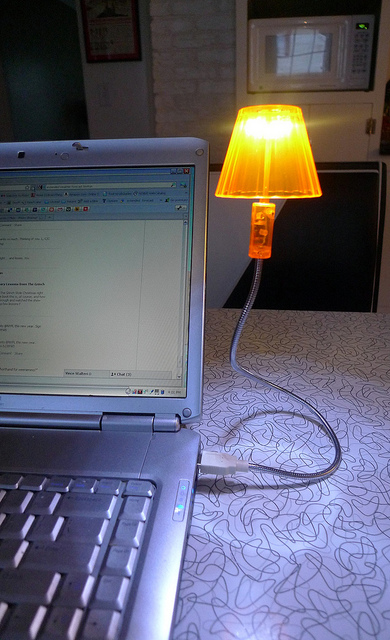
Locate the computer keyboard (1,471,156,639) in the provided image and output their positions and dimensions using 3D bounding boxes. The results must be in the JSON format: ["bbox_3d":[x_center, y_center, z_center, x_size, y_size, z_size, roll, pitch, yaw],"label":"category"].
[{"bbox_3d":[-0.105,0.163,0.340,0.135,0.024,0.133,0,21,6],"label":"computer keyboard"}]

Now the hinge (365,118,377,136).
[{"bbox_3d":[0.777,-0.856,2.073,0.044,0.070,0.010,0,19,7],"label":"hinge"}]

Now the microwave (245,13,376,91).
[{"bbox_3d":[0.495,-1.102,2.109,0.523,0.346,0.297,1,-4,5],"label":"microwave"}]
